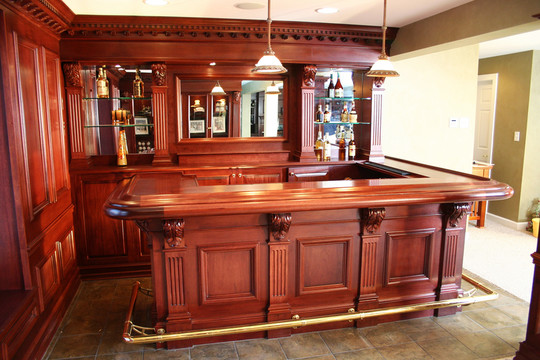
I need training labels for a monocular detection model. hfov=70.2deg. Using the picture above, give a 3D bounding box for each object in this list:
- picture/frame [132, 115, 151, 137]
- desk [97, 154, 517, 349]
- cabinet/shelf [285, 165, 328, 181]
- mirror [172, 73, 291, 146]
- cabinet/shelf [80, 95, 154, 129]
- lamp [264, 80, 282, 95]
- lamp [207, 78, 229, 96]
[{"bbox_3d":[-1.728,-0.738,5.159,0.367,0.361,0.028,2,15,-9],"label":"picture/frame"},{"bbox_3d":[0.264,0.723,4.068,3.385,1.547,1.264,-1,11,-10],"label":"desk"},{"bbox_3d":[0.537,-0.091,5.456,0.469,0.238,0.253,-2,14,-12],"label":"cabinet/shelf"},{"bbox_3d":[-0.609,-1.023,5.395,1.348,0.611,0.090,0,6,-8],"label":"mirror"},{"bbox_3d":[-2.012,-0.899,5.130,0.834,0.416,0.230,-3,12,-15],"label":"cabinet/shelf"},{"bbox_3d":[0.053,-1.316,5.500,0.226,0.190,0.230,-9,14,-42],"label":"lamp"},{"bbox_3d":[-0.698,-1.244,5.271,0.227,0.189,0.209,5,19,14],"label":"lamp"}]
